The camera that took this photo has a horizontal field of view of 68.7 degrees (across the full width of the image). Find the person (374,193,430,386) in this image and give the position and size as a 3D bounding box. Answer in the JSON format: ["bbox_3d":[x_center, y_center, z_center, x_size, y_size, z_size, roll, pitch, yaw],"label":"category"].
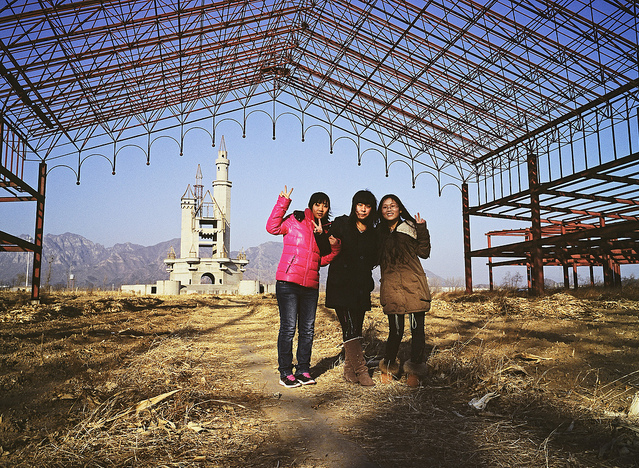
[{"bbox_3d":[1.454,0.979,8.264,0.984,3.373,0.751,-3,-6,22],"label":"person"}]

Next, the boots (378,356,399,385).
[{"bbox_3d":[1.231,2.467,8.460,0.346,0.392,0.393,-1,-1,10],"label":"boots"}]

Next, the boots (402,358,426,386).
[{"bbox_3d":[1.635,2.451,8.284,0.385,0.461,0.407,4,-7,-26],"label":"boots"}]
